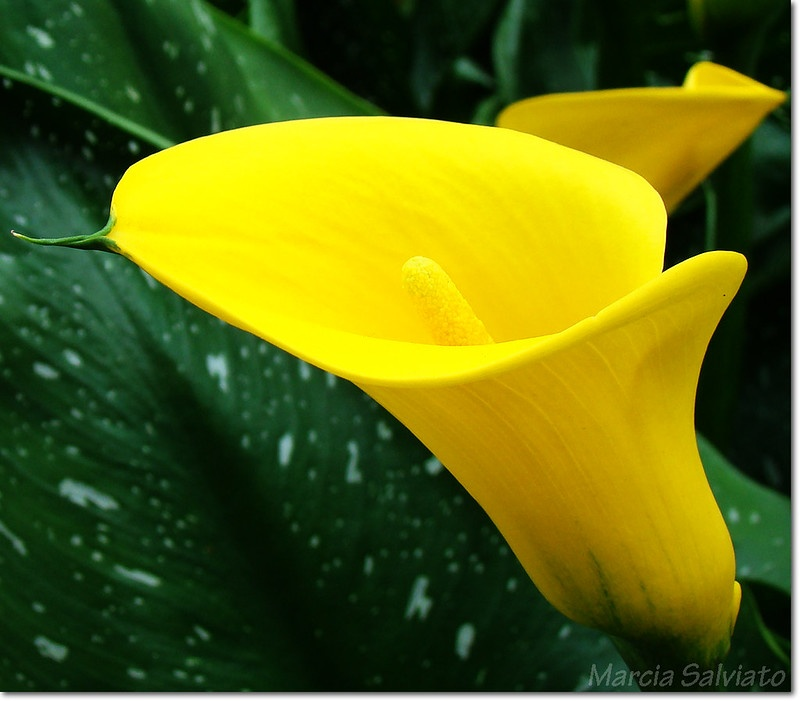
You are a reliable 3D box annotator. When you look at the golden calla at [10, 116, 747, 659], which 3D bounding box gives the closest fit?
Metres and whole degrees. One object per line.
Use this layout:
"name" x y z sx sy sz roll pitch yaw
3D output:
"golden calla" -0.028 -0.041 0.616 0.488 0.171 0.294 17 53 40
